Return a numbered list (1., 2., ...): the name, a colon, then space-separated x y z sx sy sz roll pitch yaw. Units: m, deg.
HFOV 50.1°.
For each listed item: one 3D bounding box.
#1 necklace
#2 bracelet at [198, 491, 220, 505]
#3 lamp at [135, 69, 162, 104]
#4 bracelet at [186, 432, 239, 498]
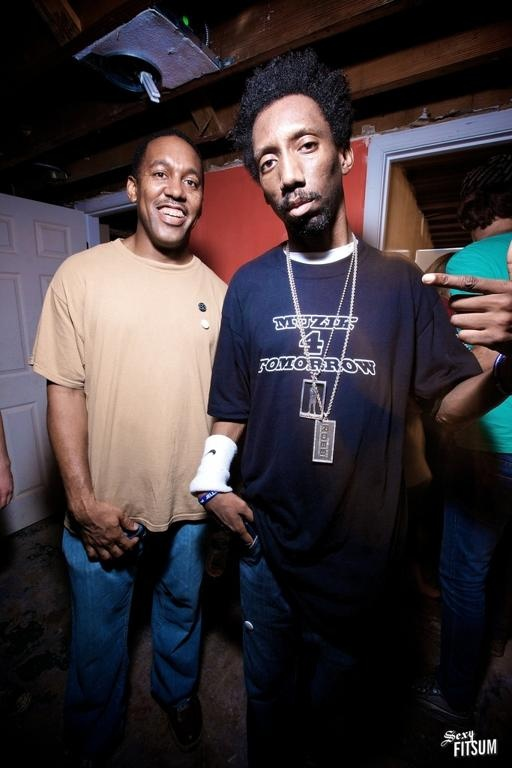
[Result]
1. necklace: 0.198 -0.115 1.736 0.229 0.690 0.249 2 10 4
2. bracelet: -0.164 0.385 1.840 0.058 0.024 0.057 -27 -34 32
3. lamp: -0.539 -1.494 2.772 0.087 0.103 0.223 3 11 9
4. bracelet: -0.162 0.279 1.919 0.150 0.128 0.186 24 55 0
